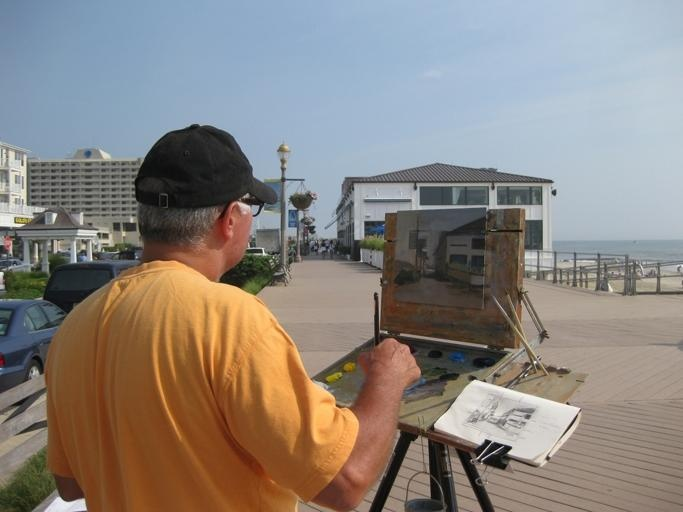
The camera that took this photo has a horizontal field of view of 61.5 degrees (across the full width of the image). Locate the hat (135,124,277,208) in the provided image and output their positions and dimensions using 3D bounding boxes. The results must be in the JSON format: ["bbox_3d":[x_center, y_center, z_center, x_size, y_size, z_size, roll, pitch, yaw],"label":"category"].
[{"bbox_3d":[-0.507,-0.322,2.508,0.682,0.422,0.513,-7,15,-36],"label":"hat"}]

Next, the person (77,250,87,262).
[{"bbox_3d":[-16.414,0.060,36.429,0.547,0.679,0.720,2,-8,-17],"label":"person"}]

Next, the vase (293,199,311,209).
[{"bbox_3d":[-2.695,-3.603,40.125,0.921,0.590,0.967,-1,-2,2],"label":"vase"}]
